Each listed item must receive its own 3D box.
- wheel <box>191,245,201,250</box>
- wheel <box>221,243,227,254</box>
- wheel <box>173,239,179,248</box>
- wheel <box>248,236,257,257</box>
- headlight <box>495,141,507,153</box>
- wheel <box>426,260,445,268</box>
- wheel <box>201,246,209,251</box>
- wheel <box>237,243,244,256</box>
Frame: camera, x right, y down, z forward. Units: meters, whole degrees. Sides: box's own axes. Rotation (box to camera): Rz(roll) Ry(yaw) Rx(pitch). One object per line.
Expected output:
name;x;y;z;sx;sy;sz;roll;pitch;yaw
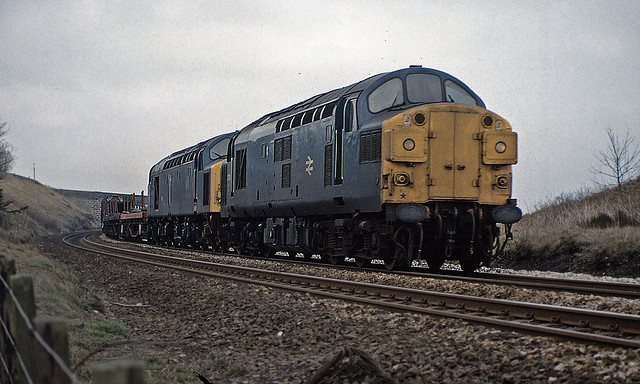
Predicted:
wheel;-7.138;3.191;27.458;0.567;0.323;0.120;7;-15;24
wheel;-4.809;2.818;24.041;0.231;0.477;0.777;-2;-4;-19
wheel;-9.068;3.226;30.065;0.262;0.482;1.366;-2;-5;-22
wheel;-2.942;2.401;21.139;0.276;0.868;0.852;-1;-4;-32
headlight;5.070;-1.254;13.307;0.279;0.309;0.070;-17;5;-5
wheel;3.639;2.247;14.920;0.550;0.271;0.285;-4;-4;13
wheel;-6.243;3.076;25.985;0.202;0.268;0.373;9;-13;-36
wheel;-3.716;2.793;22.610;0.102;0.440;0.459;17;32;-22
